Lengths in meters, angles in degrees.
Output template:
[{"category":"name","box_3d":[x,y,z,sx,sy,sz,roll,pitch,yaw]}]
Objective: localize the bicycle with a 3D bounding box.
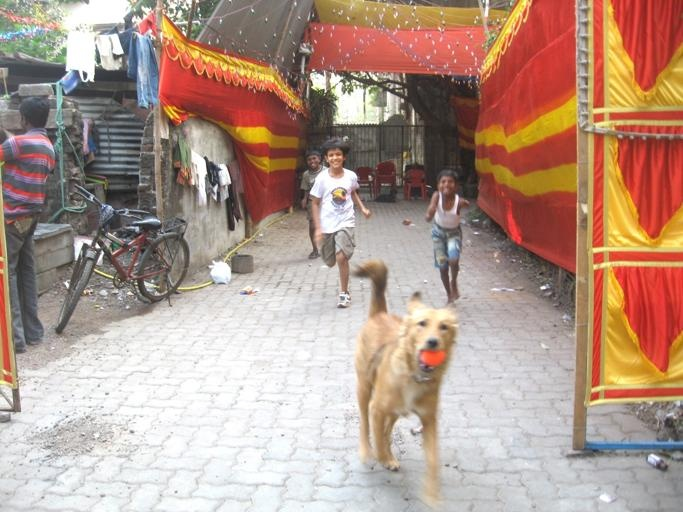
[{"category":"bicycle","box_3d":[-3.173,-0.149,8.270,1.105,1.591,2.367,14,12,21]}]

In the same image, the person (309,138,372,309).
[{"category":"person","box_3d":[-0.062,-0.462,8.351,0.715,2.239,1.158,0,10,1]}]

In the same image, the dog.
[{"category":"dog","box_3d":[0.404,0.874,4.246,0.477,1.286,1.034,-4,11,-18]}]

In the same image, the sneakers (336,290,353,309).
[{"category":"sneakers","box_3d":[0.030,0.601,8.324,0.173,0.220,0.472,0,8,5]}]
